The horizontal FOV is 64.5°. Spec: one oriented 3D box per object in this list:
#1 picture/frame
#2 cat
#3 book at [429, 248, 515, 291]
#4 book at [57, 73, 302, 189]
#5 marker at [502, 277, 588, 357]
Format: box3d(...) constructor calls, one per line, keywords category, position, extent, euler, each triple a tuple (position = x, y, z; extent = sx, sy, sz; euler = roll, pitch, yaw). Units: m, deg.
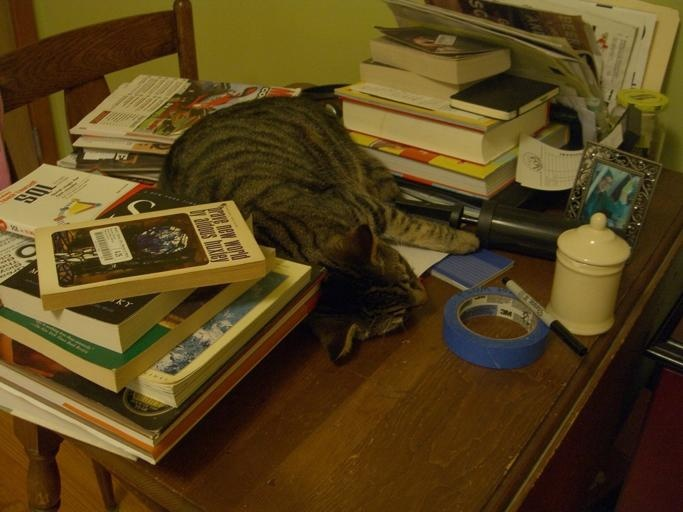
box3d(category="picture/frame", position=(0.418, -0.102, 0.885), extent=(0.181, 0.150, 0.105), euler=(21, 46, 21))
box3d(category="cat", position=(-0.040, -0.056, 0.939), extent=(0.350, 0.170, 0.473), euler=(-42, 73, -14))
box3d(category="book", position=(0.193, 0.023, 0.813), extent=(0.109, 0.019, 0.075), euler=(-15, 26, -37))
box3d(category="book", position=(-0.288, -0.219, 0.959), extent=(0.434, 0.076, 0.375), euler=(7, 30, 10))
box3d(category="marker", position=(0.268, 0.074, 0.721), extent=(0.019, 0.018, 0.141), euler=(-49, 50, 11))
